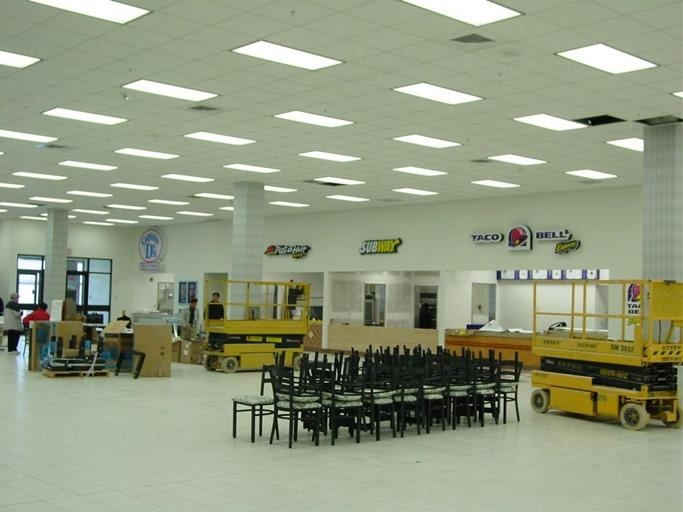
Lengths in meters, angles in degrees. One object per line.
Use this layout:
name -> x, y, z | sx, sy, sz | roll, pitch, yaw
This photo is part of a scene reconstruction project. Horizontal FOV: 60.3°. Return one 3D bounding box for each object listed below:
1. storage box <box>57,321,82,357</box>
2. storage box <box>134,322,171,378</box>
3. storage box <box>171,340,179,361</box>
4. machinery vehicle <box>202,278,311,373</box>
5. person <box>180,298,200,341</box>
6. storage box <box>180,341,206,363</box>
storage box -> -6.371, 1.945, 13.811 | 0.614, 0.816, 0.609 | 7, -6, -36
storage box -> -4.602, 2.245, 14.206 | 1.005, 1.167, 0.834 | -1, -11, -9
storage box -> -4.911, 2.803, 17.472 | 0.265, 0.634, 0.176 | 4, -5, -3
machinery vehicle -> -2.615, 1.938, 15.982 | 1.715, 2.181, 3.054 | -6, -8, 40
person -> -4.701, 1.914, 18.349 | 0.517, 1.269, 2.047 | 5, -5, -14
storage box -> -4.386, 2.793, 17.094 | 0.988, 0.705, 0.807 | 2, -5, -1
